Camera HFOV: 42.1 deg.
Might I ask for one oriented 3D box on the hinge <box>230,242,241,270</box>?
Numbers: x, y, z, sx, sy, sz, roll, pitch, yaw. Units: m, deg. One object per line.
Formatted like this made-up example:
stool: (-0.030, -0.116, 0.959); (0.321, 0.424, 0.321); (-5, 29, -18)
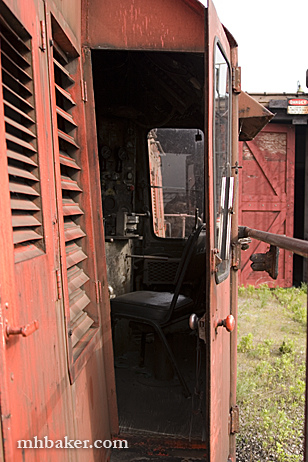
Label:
hinge: (0.447, 0.131, 2.181); (0.038, 0.117, 0.107); (10, 5, 37)

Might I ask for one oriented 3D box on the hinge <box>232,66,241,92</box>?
hinge: (0.458, -0.849, 2.238); (0.082, 0.106, 0.025); (3, 6, -45)

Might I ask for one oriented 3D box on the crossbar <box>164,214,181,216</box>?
crossbar: (0.229, -0.195, 4.717); (0.026, 0.030, 0.216); (-1, 1, -37)

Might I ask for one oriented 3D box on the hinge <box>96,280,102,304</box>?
hinge: (-0.288, 0.313, 2.102); (0.021, 0.126, 0.057); (8, 4, 13)

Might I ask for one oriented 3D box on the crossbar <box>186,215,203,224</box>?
crossbar: (0.451, -0.143, 4.436); (0.044, 0.051, 0.345); (-3, 15, -44)

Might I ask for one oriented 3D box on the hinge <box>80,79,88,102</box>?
hinge: (-0.353, -0.711, 2.030); (0.022, 0.106, 0.078); (7, 4, 7)

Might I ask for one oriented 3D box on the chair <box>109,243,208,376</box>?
chair: (0.070, 0.601, 3.359); (0.756, 1.342, 0.660); (5, 2, 32)
